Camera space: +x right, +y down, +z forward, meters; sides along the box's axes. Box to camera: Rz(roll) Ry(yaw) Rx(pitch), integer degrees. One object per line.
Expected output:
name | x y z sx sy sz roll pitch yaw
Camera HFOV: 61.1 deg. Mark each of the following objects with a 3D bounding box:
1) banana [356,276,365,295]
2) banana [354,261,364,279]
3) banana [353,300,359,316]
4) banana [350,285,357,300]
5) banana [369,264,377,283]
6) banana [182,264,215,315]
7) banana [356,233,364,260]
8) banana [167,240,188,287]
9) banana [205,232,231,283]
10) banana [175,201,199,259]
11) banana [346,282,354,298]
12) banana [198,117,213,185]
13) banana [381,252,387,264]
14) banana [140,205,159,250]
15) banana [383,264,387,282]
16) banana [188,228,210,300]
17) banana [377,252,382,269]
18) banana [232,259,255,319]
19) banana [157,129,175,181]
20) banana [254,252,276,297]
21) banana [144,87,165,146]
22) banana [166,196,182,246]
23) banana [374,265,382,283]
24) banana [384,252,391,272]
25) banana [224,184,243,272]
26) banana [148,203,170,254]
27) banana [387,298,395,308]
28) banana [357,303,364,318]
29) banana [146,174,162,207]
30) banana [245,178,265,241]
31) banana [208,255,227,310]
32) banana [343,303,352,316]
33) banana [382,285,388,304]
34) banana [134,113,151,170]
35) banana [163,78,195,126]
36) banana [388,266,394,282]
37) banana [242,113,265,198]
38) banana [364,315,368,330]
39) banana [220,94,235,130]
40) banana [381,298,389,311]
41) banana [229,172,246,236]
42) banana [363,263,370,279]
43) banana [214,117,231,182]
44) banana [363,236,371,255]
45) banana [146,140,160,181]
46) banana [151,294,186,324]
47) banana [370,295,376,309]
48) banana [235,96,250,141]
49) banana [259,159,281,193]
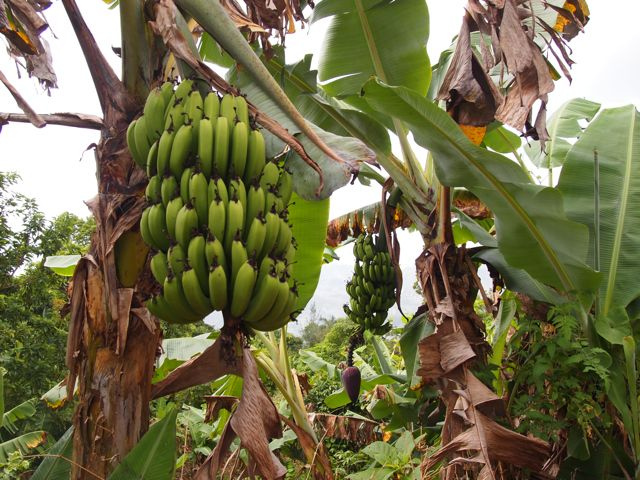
banana | 0.428 0.462 5.677 0.043 0.240 0.076 -9 -3 -5
banana | 0.411 0.323 5.741 0.071 0.213 0.052 -8 -42 -22
banana | 0.375 0.705 5.714 0.051 0.182 0.033 -2 -3 21
banana | 0.357 0.551 5.772 0.052 0.167 0.035 -11 -9 18
banana | 0.552 0.344 5.576 0.066 0.220 0.042 -6 2 -7
banana | -0.739 0.314 3.193 0.091 0.404 0.138 -14 26 8
banana | 0.424 0.075 5.832 0.063 0.254 0.108 -15 -20 24
banana | -0.866 0.110 3.286 0.100 0.138 0.374 -17 19 -15
banana | -0.638 0.043 3.346 0.098 0.160 0.434 -18 6 -3
banana | -0.783 -0.074 3.241 0.103 0.377 0.126 0 -7 4
banana | 0.318 0.539 5.845 0.035 0.126 0.094 -5 -20 -4
banana | -0.698 -0.549 3.362 0.077 0.409 0.132 -4 2 -23
banana | 0.661 0.191 5.588 0.022 0.102 0.051 -4 3 40
banana | -1.068 -0.067 3.336 0.053 0.233 0.172 -3 -26 -24
banana | 0.673 0.339 5.578 0.033 0.145 0.044 9 10 28
banana | -0.711 0.146 3.249 0.090 0.381 0.125 -9 -1 -15
banana | 0.616 0.205 5.581 0.036 0.162 0.027 -5 -4 12
banana | -0.452 0.289 3.190 0.092 0.392 0.119 11 10 16
banana | -0.947 -0.533 3.367 0.086 0.329 0.108 5 -3 18
banana | -0.322 0.172 3.301 0.071 0.311 0.104 18 -17 -12
banana | -1.090 -0.823 3.583 0.137 0.187 0.529 9 -15 -20
banana | -0.881 -0.108 3.288 0.093 0.296 0.078 4 -4 -34
banana | 0.599 0.348 5.564 0.044 0.219 0.067 -20 11 -23
banana | 0.700 0.233 5.644 0.057 0.197 0.038 -9 -2 -19
banana | -0.509 -0.049 3.290 0.096 0.581 0.097 -1 4 -5
banana | -0.992 -0.072 3.349 0.118 0.388 0.095 -8 2 -24
banana | 0.754 0.653 5.684 0.032 0.144 0.052 25 2 -4
banana | 0.424 0.736 5.704 0.051 0.172 0.042 -13 -5 -17
banana | -1.029 -0.300 3.367 0.083 0.250 0.071 6 6 -8
banana | -0.392 -0.200 3.382 0.090 0.376 0.123 8 -19 -23
banana | -0.602 0.256 3.224 0.100 0.258 0.211 5 -26 -3
banana | 0.292 0.749 5.808 0.052 0.049 0.149 -17 -48 -3
banana | 0.681 0.561 5.645 0.051 0.156 0.099 0 -26 8
banana | -1.129 -0.625 3.518 0.110 0.386 0.093 -3 -2 22
banana | -0.908 -0.887 3.430 0.186 0.324 0.054 -6 -26 20
banana | 0.747 0.354 5.627 0.046 0.158 0.033 12 16 25
banana | -0.407 -0.544 3.403 0.122 0.538 0.180 3 -7 -11
banana | 0.485 0.867 5.654 0.039 0.140 0.027 0 -3 15
banana | -0.583 -0.835 3.423 0.071 0.268 0.092 -6 -22 -9
banana | 0.689 0.675 5.703 0.039 0.171 0.055 15 6 -27
banana | -0.493 -0.222 3.332 0.078 0.388 0.125 -5 1 13
banana | 0.489 0.323 5.613 0.056 0.170 0.037 3 -3 0
banana | -0.595 -0.557 3.327 0.084 0.374 0.111 -3 0 7
banana | 0.494 0.055 5.701 0.043 0.194 0.063 8 -4 36
banana | -1.040 -0.495 3.413 0.066 0.274 0.087 10 0 37
banana | -0.923 0.406 3.308 0.058 0.151 0.161 -35 -20 -42
banana | 0.551 0.633 5.591 0.033 0.135 0.044 15 6 20
banana | -0.488 -0.782 3.479 0.063 0.278 0.086 -7 -9 1
banana | -0.326 -0.421 3.513 0.077 0.262 0.086 26 -27 -29
